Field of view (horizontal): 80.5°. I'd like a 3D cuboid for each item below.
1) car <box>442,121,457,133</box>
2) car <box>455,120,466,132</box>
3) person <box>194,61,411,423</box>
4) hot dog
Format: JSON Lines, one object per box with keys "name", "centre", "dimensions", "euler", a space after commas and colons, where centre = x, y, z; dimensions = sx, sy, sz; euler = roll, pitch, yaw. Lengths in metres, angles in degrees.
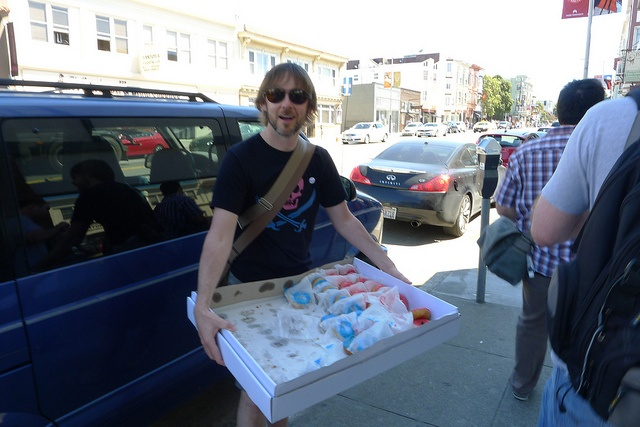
{"name": "car", "centre": [19.286, -12.528, 54.882], "dimensions": [1.804, 1.274, 2.733], "euler": [1, -6, -4]}
{"name": "car", "centre": [21.682, -13.299, 58.015], "dimensions": [1.428, 1.315, 3.561], "euler": [5, 11, 29]}
{"name": "person", "centre": [-0.241, 0.267, 2.450], "dimensions": [1.283, 2.335, 0.677], "euler": [-15, 22, -35]}
{"name": "hot dog", "centre": [0.241, 0.503, 2.135], "dimensions": [0.368, 0.154, 0.469], "euler": [-11, 28, -27]}
